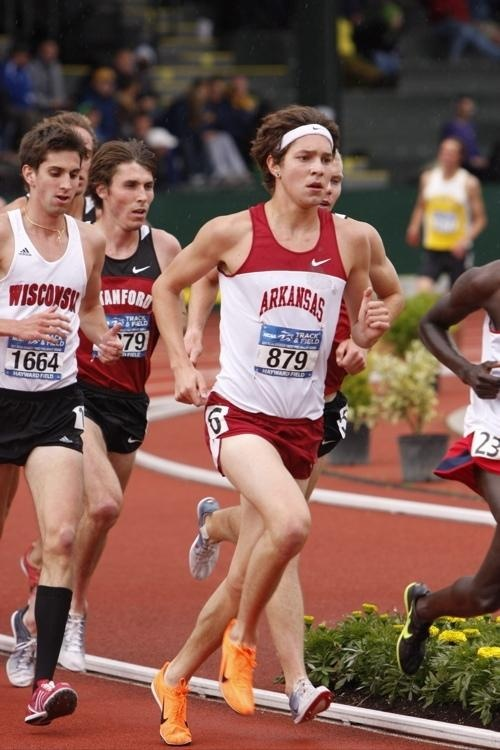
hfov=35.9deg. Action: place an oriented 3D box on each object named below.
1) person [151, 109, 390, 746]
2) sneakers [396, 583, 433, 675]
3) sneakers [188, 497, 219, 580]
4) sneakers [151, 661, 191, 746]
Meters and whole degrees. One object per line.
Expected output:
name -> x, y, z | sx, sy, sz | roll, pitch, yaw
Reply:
person -> 0.029, 0.231, 2.513 | 0.733, 1.741, 0.872 | 3, 11, -7
sneakers -> 0.617, 0.948, 2.899 | 0.110, 0.319, 0.136 | 7, -5, -29
sneakers -> -0.217, 0.785, 3.588 | 0.161, 0.423, 0.185 | 6, 27, -7
sneakers -> -0.233, 1.050, 2.490 | 0.092, 0.118, 0.280 | 6, 33, -29
